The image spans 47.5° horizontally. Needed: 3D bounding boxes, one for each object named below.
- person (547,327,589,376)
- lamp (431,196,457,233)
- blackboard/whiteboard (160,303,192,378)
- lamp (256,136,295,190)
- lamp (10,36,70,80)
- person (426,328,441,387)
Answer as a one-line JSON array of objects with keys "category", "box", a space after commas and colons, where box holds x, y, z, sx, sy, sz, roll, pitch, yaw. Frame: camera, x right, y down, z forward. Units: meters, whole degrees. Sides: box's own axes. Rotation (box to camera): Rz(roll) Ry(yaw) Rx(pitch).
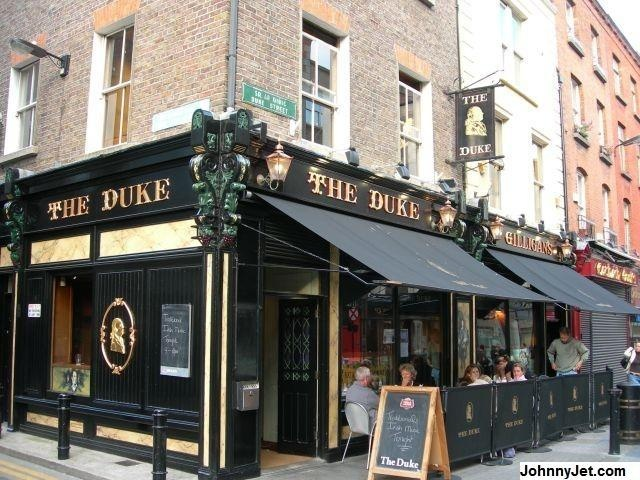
[{"category": "person", "box": [5.958, 2.668, 17.628, 0.593, 1.088, 0.901, 8, -13, -44]}, {"category": "lamp", "box": [2.932, -0.574, 16.765, 0.447, 0.794, 0.720, -7, -11, 32]}, {"category": "blackboard/whiteboard", "box": [-2.569, 1.784, 12.956, 0.809, 1.274, 0.190, -10, -13, 43]}, {"category": "lamp", "box": [-0.715, -1.320, 13.048, 0.540, 0.851, 0.745, -8, -12, 35]}, {"category": "lamp", "box": [-5.919, -3.883, 15.301, 0.907, 0.811, 0.971, -7, -11, 32]}, {"category": "person", "box": [2.627, 2.648, 16.746, 0.138, 1.362, 0.518, -6, -11, 30]}]
